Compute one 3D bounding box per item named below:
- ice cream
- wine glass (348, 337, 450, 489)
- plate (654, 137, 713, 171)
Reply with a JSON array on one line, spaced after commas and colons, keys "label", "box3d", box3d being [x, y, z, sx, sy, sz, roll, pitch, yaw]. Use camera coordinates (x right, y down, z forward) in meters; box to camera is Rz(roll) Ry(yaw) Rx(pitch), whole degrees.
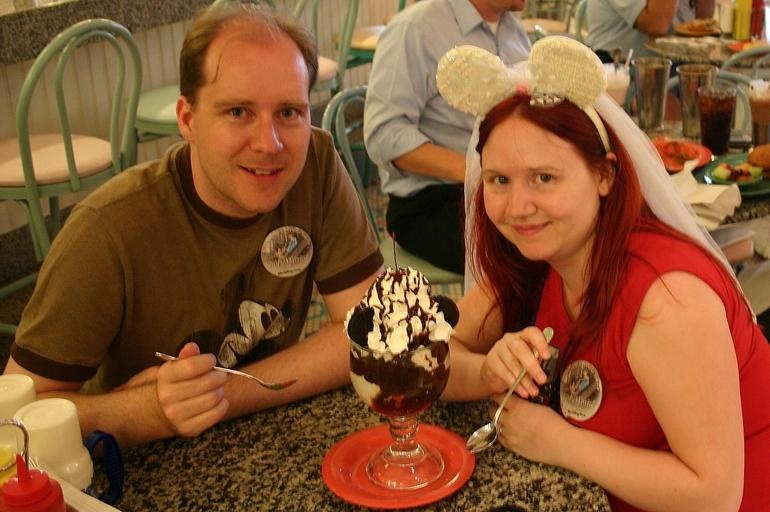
[{"label": "ice cream", "box3d": [0.022, 0.186, 1.418, 0.230, 0.330, 0.222, 18, 33, 29]}, {"label": "wine glass", "box3d": [0.030, 0.346, 1.415, 0.187, 0.327, 0.215, -10, 23, -7]}, {"label": "plate", "box3d": [1.241, -0.423, 2.680, 0.230, 0.085, 0.250, 10, 32, 9]}]
